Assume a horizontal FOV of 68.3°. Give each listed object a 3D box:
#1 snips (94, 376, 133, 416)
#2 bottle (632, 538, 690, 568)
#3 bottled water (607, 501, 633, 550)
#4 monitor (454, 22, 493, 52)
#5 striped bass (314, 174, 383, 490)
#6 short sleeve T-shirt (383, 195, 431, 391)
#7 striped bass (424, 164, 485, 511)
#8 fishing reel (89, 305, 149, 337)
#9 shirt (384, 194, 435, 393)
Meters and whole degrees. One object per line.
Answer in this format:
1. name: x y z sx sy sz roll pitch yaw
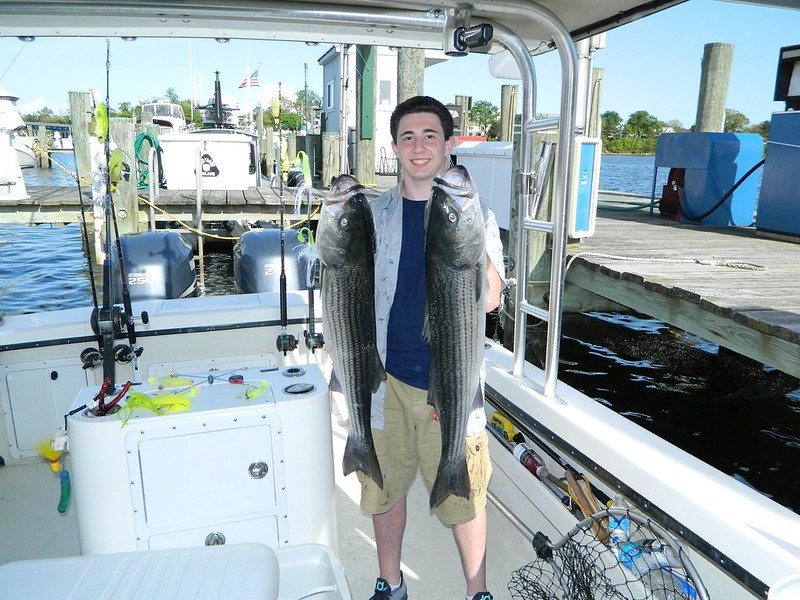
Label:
1. snips: -1.182 0.394 2.416 0.093 0.042 0.163 28 43 -14
2. bottle: 0.945 0.909 2.109 0.128 0.054 0.094 8 -27 45
3. bottled water: 0.847 0.872 2.283 0.052 0.210 0.055 -7 18 6
4. monitor: 0.346 -1.169 2.672 0.095 0.109 0.185 3 12 -33
5. striped bass: -0.192 0.149 2.397 0.245 1.285 0.123 -3 14 -3
6. short sleeve T-shirt: 0.035 -0.043 2.628 0.184 0.827 0.291 11 7 35
7. striped bass: 0.221 0.183 2.344 0.236 1.377 0.118 -2 14 1
8. fishing reel: -1.398 0.107 2.865 0.292 0.178 0.176 0 -4 -2
9. shirt: 0.051 -0.038 2.550 0.263 0.809 0.199 6 9 41
